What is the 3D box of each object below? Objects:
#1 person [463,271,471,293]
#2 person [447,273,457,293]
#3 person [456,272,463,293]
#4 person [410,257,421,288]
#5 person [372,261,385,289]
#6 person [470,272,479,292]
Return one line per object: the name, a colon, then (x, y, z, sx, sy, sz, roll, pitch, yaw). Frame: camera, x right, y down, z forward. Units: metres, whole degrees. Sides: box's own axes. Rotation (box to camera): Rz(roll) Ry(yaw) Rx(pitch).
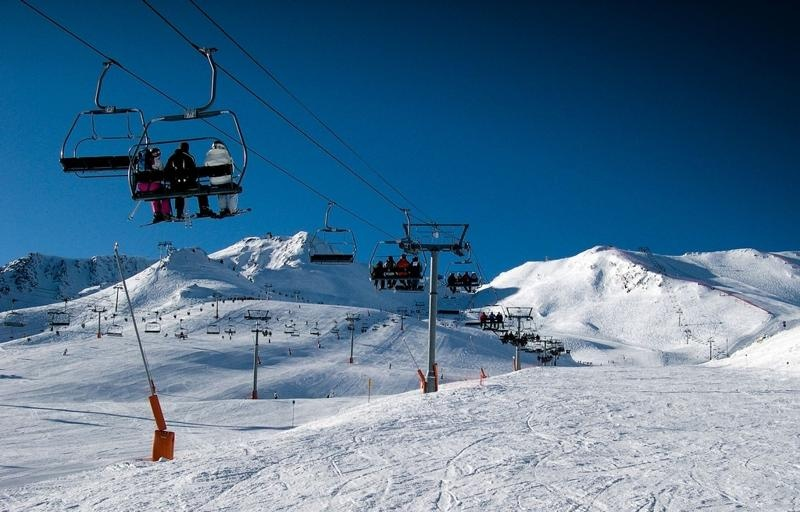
person: (5.759, 2.183, 70.573, 0.623, 1.484, 0.809, 1, 1, 4)
person: (4.628, 2.364, 71.333, 1.215, 1.356, 0.562, -1, -11, 18)
person: (5.160, 2.166, 70.974, 0.471, 1.157, 1.200, 1, 0, 0)
person: (1.365, 1.391, 66.441, 0.831, 2.599, 0.931, 1, 1, 0)
person: (-1.727, 1.617, 66.571, 0.970, 2.298, 1.581, 1, 0, -2)
person: (6.470, 2.228, 70.770, 0.746, 1.563, 1.343, 1, 0, 10)
